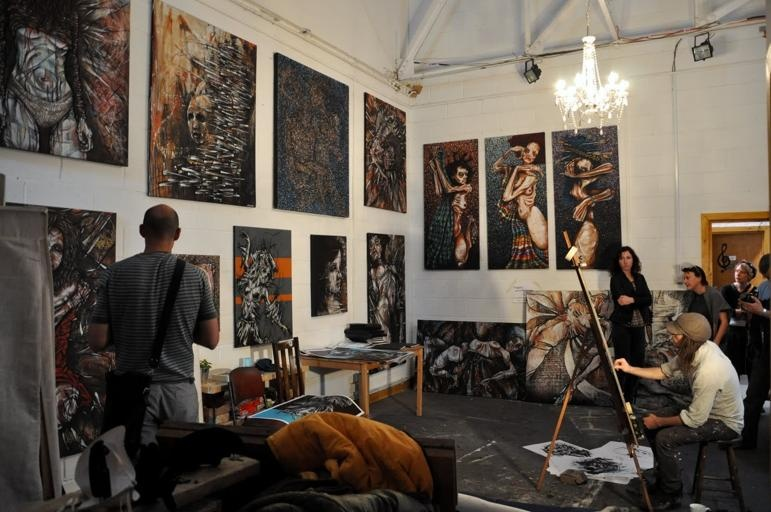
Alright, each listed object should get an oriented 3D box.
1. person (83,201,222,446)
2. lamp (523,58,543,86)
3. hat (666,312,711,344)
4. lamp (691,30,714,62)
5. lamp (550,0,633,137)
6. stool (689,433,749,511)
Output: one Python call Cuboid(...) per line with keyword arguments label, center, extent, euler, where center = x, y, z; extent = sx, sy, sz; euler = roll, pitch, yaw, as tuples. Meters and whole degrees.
Cuboid(label="person", center=(-1.700, 0.467, 4.129), extent=(0.765, 1.673, 0.530), euler=(1, 4, 22))
Cuboid(label="lamp", center=(2.287, -2.909, 8.810), extent=(0.291, 0.374, 0.401), euler=(0, 4, 14))
Cuboid(label="hat", center=(2.928, 0.691, 5.427), extent=(0.339, 0.183, 0.270), euler=(17, 11, 29))
Cuboid(label="lamp", center=(4.500, -2.994, 8.001), extent=(0.286, 0.402, 0.325), euler=(1, 4, 29))
Cuboid(label="lamp", center=(2.958, -2.854, 8.043), extent=(1.068, 2.006, 1.445), euler=(0, 4, 18))
Cuboid(label="stool", center=(3.173, 2.043, 5.362), extent=(0.440, 0.693, 0.792), euler=(1, 4, 31))
